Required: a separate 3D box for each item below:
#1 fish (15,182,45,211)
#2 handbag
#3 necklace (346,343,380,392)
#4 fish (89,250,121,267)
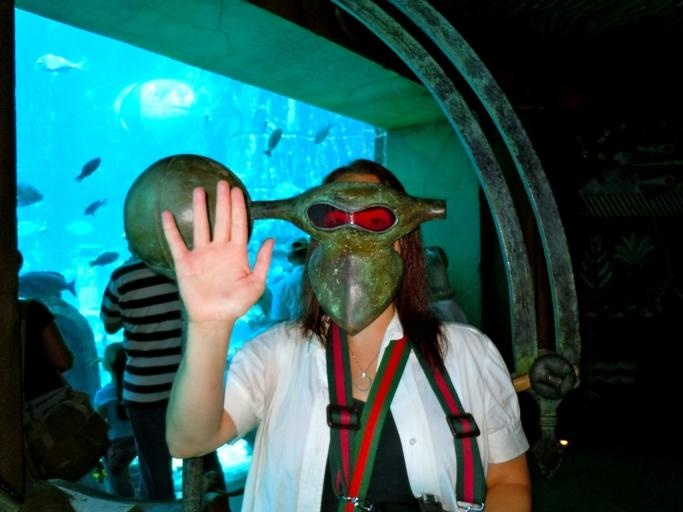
[{"bbox_3d":[-4.945,-0.984,10.063,0.319,0.461,1.441,-1,-5,-21],"label":"fish"},{"bbox_3d":[-1.466,0.958,3.413,0.414,0.488,0.200,0,-5,-30],"label":"handbag"},{"bbox_3d":[0.097,0.492,2.759,0.218,0.264,0.019,-1,-33,5],"label":"necklace"},{"bbox_3d":[-3.904,0.048,10.472,0.143,0.240,0.485,-28,-2,43],"label":"fish"}]
